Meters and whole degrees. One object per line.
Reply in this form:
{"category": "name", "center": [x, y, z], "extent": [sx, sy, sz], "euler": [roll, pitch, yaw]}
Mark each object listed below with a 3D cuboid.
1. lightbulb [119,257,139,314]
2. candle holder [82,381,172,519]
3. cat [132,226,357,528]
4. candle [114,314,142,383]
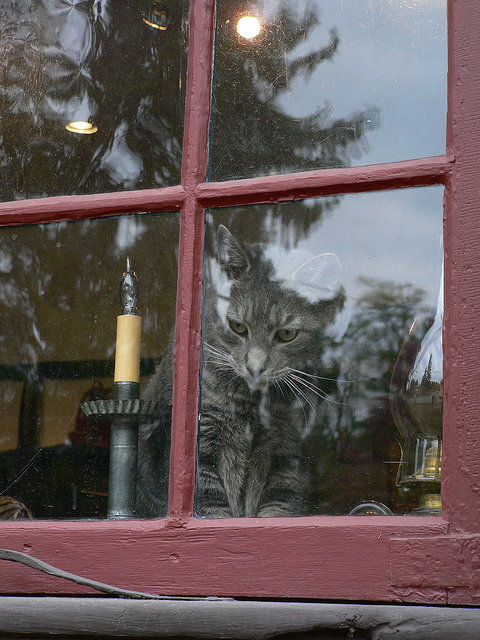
{"category": "lightbulb", "center": [-0.162, -0.049, 1.853], "extent": [0.028, 0.090, 0.083], "euler": [2, -5, -7]}
{"category": "candle holder", "center": [-0.159, 0.179, 1.751], "extent": [0.109, 0.195, 0.122], "euler": [-1, -4, 15]}
{"category": "cat", "center": [0.023, 0.082, 1.859], "extent": [0.295, 0.405, 0.609], "euler": [1, -6, 8]}
{"category": "candle", "center": [-0.157, 0.042, 1.790], "extent": [0.036, 0.098, 0.063], "euler": [2, -5, -6]}
